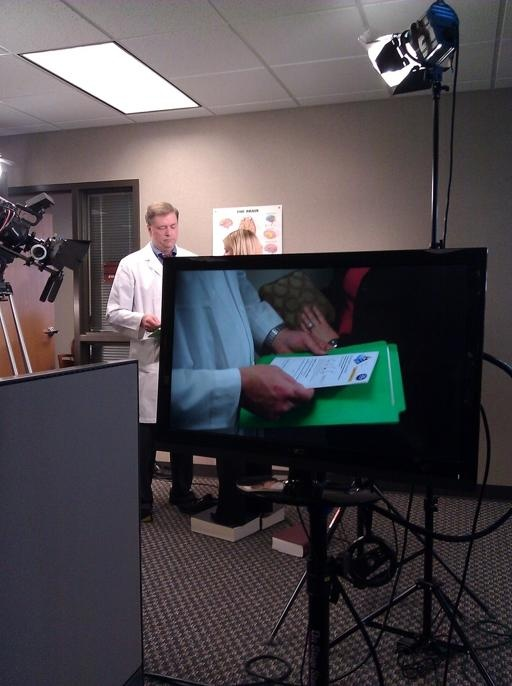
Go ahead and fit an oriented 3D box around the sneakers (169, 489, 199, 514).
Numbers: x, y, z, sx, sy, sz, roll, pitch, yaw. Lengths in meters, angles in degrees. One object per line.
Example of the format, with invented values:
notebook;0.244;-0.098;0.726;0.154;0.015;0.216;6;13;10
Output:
sneakers;-0.393;0.856;2.870;0.114;0.044;0.089;1;10;1

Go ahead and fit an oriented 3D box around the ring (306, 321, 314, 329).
ring;0.090;-0.030;0.899;0.008;0.012;0.004;1;1;27

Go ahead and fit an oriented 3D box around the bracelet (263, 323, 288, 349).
bracelet;0.033;-0.014;0.929;0.009;0.037;0.039;34;38;24

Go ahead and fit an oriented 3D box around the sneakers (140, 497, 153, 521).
sneakers;-0.549;0.826;2.732;0.049;0.121;0.176;-1;1;-6
